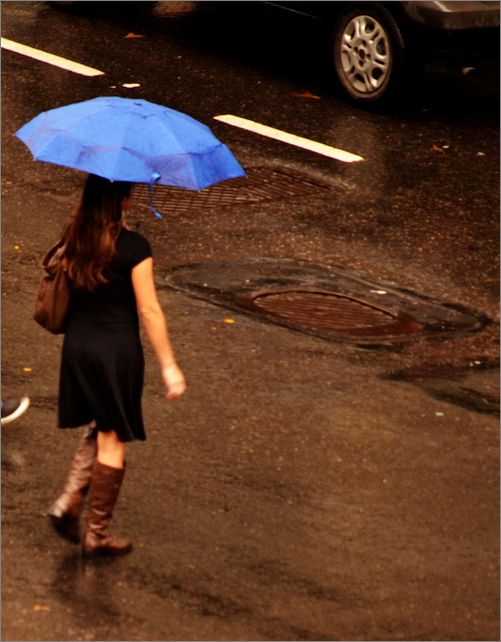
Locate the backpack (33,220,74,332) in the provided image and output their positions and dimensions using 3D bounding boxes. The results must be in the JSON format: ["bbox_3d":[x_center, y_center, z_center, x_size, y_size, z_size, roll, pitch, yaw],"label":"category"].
[{"bbox_3d":[-0.677,-0.126,2.434,0.121,0.428,0.167,0,28,-14],"label":"backpack"}]

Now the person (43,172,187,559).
[{"bbox_3d":[-0.534,0.216,2.581,0.412,1.501,0.469,-10,32,-29],"label":"person"}]
